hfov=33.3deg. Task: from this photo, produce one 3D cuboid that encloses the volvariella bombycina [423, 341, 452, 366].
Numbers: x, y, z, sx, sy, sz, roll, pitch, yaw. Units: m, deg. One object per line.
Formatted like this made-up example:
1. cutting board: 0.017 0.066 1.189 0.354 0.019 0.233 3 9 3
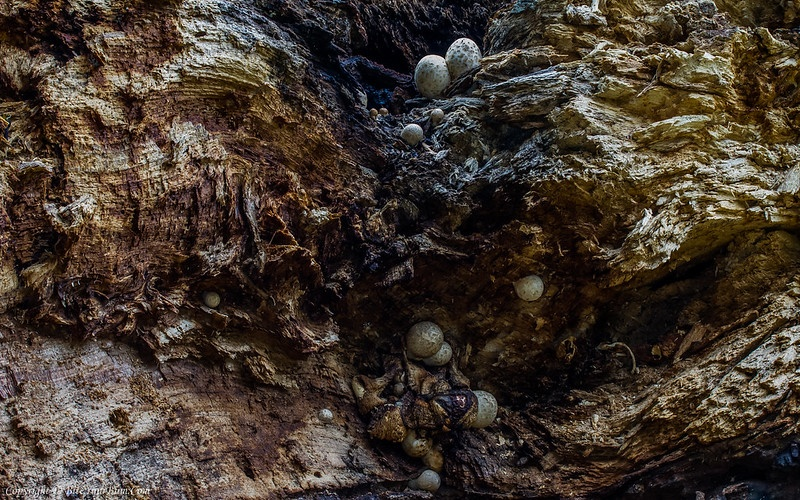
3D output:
1. volvariella bombycina: 0.391 0.998 12.665 0.210 0.221 0.126 -22 75 -8
